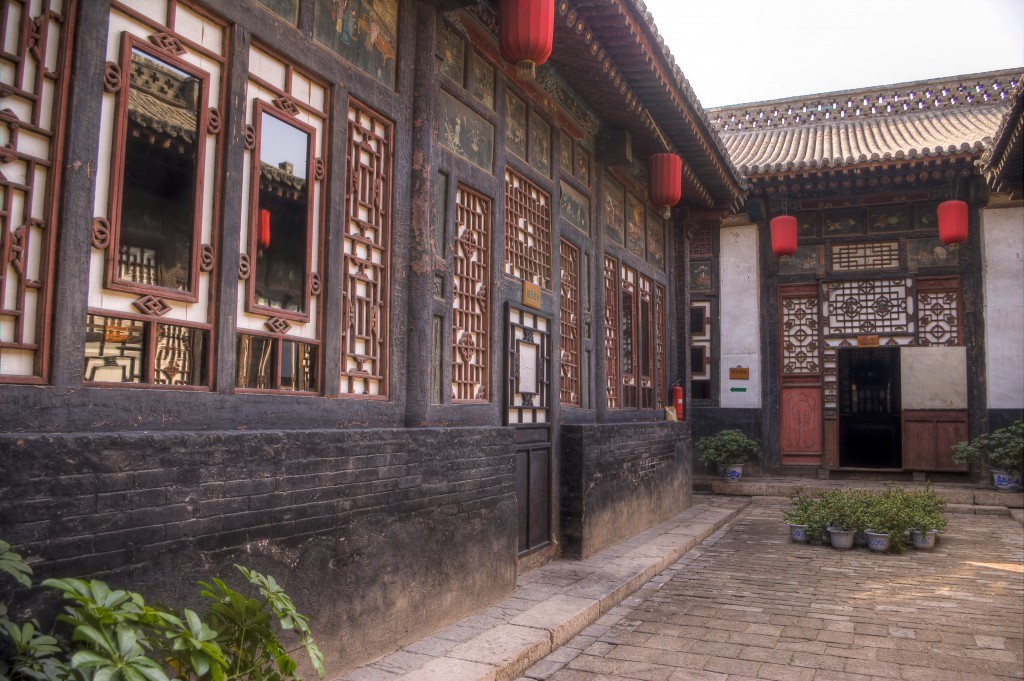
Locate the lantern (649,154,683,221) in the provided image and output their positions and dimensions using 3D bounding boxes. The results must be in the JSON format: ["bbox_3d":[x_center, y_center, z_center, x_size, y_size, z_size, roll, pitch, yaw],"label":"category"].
[{"bbox_3d":[1.953,-2.027,8.873,0.479,0.829,0.493,5,4,25],"label":"lantern"}]

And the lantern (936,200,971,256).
[{"bbox_3d":[7.025,-1.836,11.031,0.466,0.815,0.493,3,-7,11],"label":"lantern"}]

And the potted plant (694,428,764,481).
[{"bbox_3d":[4.068,2.143,13.086,1.171,0.926,0.713,1,-2,15],"label":"potted plant"}]

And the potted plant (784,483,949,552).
[{"bbox_3d":[4.433,2.259,8.590,1.809,0.572,1.117,2,-2,-12],"label":"potted plant"}]

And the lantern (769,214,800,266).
[{"bbox_3d":[4.693,-1.804,12.012,0.463,0.563,0.487,-1,-7,9],"label":"lantern"}]
